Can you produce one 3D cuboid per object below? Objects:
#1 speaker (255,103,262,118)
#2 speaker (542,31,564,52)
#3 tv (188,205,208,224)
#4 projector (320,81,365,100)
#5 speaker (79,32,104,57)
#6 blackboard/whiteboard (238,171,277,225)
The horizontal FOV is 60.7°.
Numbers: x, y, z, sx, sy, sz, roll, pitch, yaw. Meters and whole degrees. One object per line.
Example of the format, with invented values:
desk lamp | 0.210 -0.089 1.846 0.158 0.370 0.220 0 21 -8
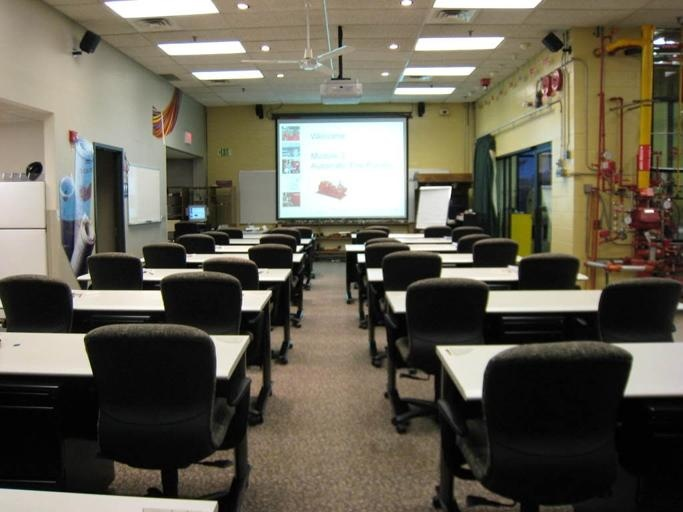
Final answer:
speaker | -1.744 -3.109 12.513 0.175 0.286 0.191 -2 6 -8
speaker | 2.883 -2.926 7.902 0.189 0.148 0.271 34 20 -16
tv | -2.749 -0.846 11.416 0.504 0.471 0.287 1 6 2
projector | 0.002 -2.392 8.305 0.570 0.301 0.365 -1 6 3
speaker | -3.329 -2.826 7.744 0.169 0.321 0.226 26 -41 -5
blackboard/whiteboard | -1.755 -1.288 12.547 1.027 1.452 0.753 0 4 2
